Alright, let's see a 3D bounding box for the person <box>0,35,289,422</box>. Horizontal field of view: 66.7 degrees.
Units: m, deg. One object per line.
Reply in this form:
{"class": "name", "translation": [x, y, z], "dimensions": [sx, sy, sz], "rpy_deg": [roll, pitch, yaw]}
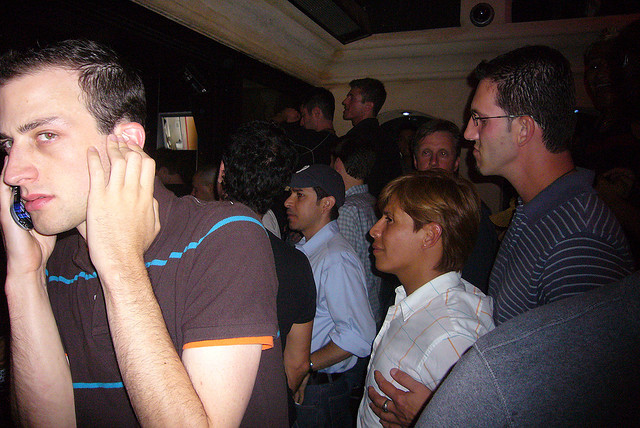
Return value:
{"class": "person", "translation": [-0.785, 0.126, 2.005], "dimensions": [1.340, 1.644, 0.480], "rpy_deg": [8, 7, 17]}

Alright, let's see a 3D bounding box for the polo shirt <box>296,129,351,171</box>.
{"class": "polo shirt", "translation": [0.012, -0.594, 4.307], "dimensions": [0.405, 0.376, 0.951], "rpy_deg": [5, 7, -3]}

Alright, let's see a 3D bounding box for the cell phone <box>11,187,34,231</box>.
{"class": "cell phone", "translation": [-1.252, -0.015, 2.064], "dimensions": [0.043, 0.130, 0.180], "rpy_deg": [-21, 67, -46]}

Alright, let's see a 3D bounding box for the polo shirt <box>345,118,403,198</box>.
{"class": "polo shirt", "translation": [0.511, -0.533, 4.477], "dimensions": [0.484, 0.717, 0.352], "rpy_deg": [7, 7, 9]}

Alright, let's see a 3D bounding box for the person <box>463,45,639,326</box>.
{"class": "person", "translation": [1.112, -0.121, 2.378], "dimensions": [0.437, 1.377, 0.852], "rpy_deg": [1, 8, -32]}

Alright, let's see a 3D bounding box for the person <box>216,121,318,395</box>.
{"class": "person", "translation": [-0.434, 0.391, 3.194], "dimensions": [0.784, 2.024, 0.641], "rpy_deg": [8, 30, 2]}

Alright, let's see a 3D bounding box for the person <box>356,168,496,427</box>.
{"class": "person", "translation": [0.543, 0.450, 2.437], "dimensions": [0.666, 1.347, 0.628], "rpy_deg": [6, 7, 5]}

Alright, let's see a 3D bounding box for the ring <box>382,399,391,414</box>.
{"class": "ring", "translation": [0.302, 0.892, 2.250], "dimensions": [0.025, 0.059, 0.022], "rpy_deg": [7, 7, 11]}

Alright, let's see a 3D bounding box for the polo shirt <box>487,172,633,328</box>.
{"class": "polo shirt", "translation": [1.057, 0.155, 2.134], "dimensions": [0.380, 0.618, 0.731], "rpy_deg": [12, 2, 1]}
